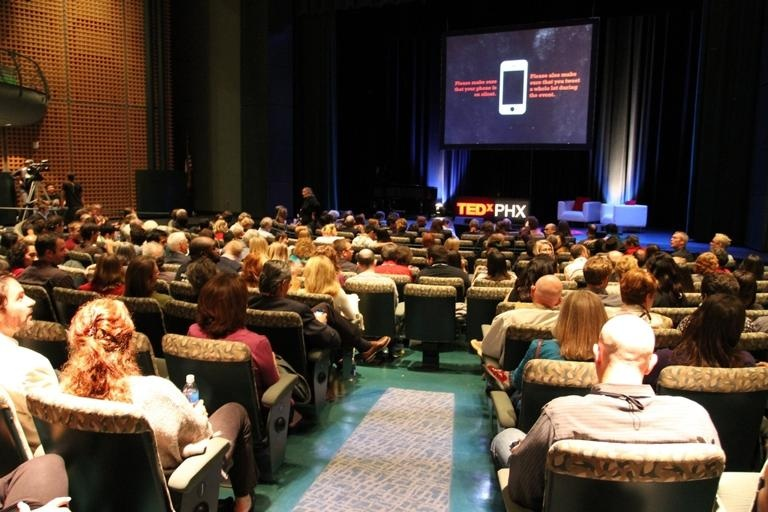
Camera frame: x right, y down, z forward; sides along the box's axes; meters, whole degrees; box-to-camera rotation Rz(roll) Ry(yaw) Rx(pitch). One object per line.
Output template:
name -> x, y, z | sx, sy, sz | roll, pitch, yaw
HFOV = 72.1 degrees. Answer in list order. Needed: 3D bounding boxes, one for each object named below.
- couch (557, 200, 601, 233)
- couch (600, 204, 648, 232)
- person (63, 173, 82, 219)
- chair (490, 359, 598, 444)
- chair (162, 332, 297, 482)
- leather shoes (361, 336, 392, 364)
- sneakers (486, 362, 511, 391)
couch -> 5.686, -1.141, 15.243 | 1.216, 0.992, 1.244 | -4, 7, -43
couch -> 6.806, -1.106, 15.018 | 1.141, 1.079, 1.140 | 1, 4, -2
person -> -7.562, -1.375, 12.819 | 0.360, 1.225, 0.420 | 2, 6, 36
chair -> 0.948, 0.835, 3.464 | 0.489, 0.680, 0.555 | 2, 17, 2
chair -> -1.115, 1.027, 3.855 | 0.916, 1.110, 1.011 | 1, 7, -24
leather shoes -> -0.089, 1.014, 5.706 | 0.404, 0.183, 0.151 | -38, 31, -15
sneakers -> 0.908, 0.964, 4.153 | 0.119, 0.096, 0.287 | -16, -21, 13
